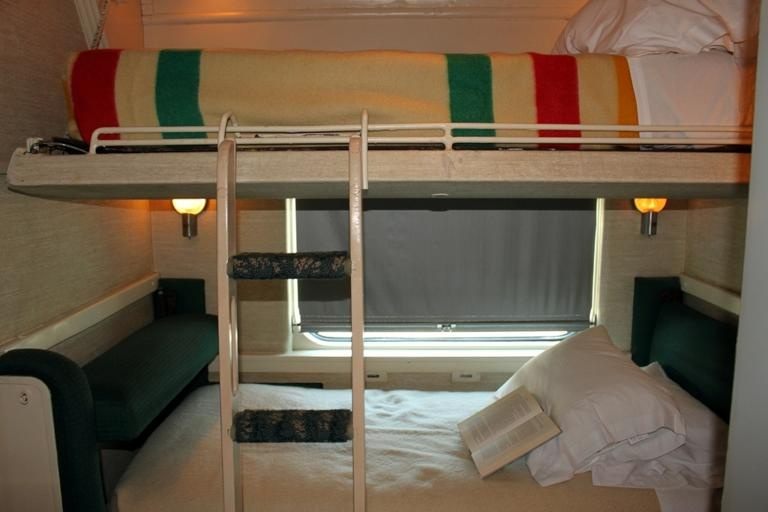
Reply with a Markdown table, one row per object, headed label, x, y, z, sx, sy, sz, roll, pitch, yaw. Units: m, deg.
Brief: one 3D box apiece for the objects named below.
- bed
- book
| label | x | y | z | sx | sy | sz | roll | pitch | yaw |
| --- | --- | --- | --- | --- | --- | --- | --- | --- | --- |
| bed | -0.005 | -0.041 | 3.724 | 3.484 | 1.173 | 2.180 | -1 | -1 | 0 |
| book | 0.747 | 1.062 | 3.799 | 0.458 | 0.110 | 0.449 | -27 | 26 | -2 |
